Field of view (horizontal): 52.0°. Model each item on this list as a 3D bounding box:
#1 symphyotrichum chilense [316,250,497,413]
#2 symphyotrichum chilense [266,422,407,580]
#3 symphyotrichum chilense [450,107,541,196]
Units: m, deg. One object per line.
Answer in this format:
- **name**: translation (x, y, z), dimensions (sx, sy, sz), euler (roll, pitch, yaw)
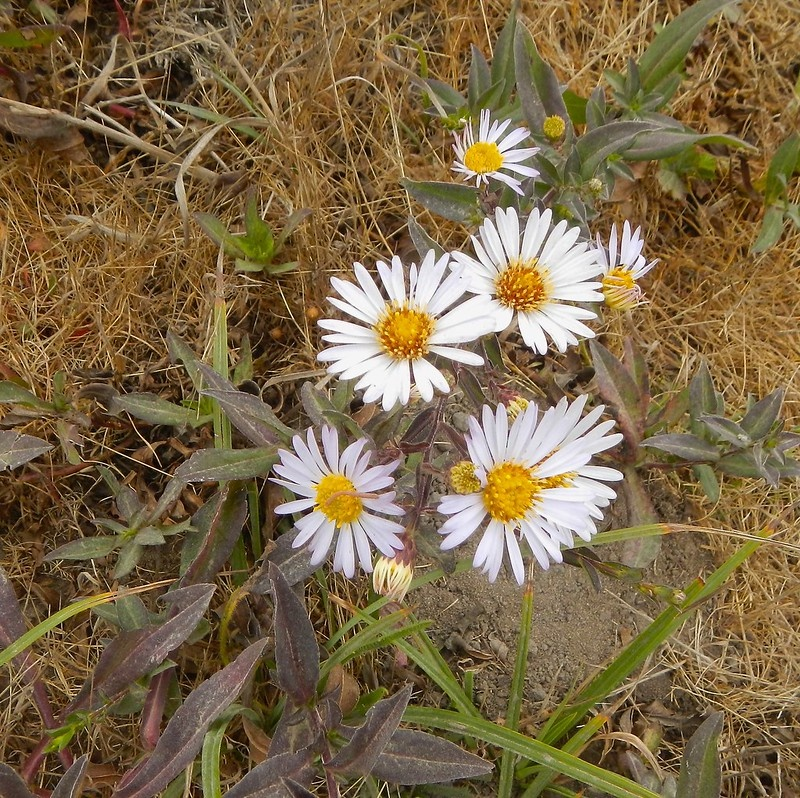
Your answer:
- **symphyotrichum chilense**: translation (-0.001, -0.151, 1.984), dimensions (0.398, 0.117, 0.410), euler (36, 86, 11)
- **symphyotrichum chilense**: translation (-0.152, 0.258, 2.000), dimensions (0.325, 0.093, 0.329), euler (23, 62, -8)
- **symphyotrichum chilense**: translation (0.267, -0.703, 2.464), dimensions (0.282, 0.116, 0.310), euler (-4, 64, -3)
